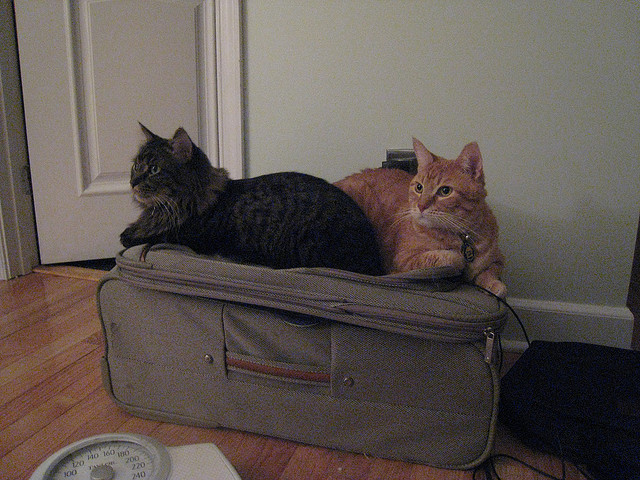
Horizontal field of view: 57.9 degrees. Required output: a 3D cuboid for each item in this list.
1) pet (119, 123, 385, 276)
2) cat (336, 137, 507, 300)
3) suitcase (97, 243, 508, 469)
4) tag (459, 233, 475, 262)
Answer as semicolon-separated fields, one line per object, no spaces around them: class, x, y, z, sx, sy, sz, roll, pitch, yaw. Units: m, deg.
pet;-0.171;-0.083;1.543;0.626;0.280;0.215;11;12;-20
cat;0.285;-0.122;1.686;0.293;0.389;0.752;-8;22;-15
suitcase;-0.061;0.234;1.608;1.054;0.555;0.450;7;21;14
tag;0.365;0.019;1.443;0.040;0.062;0.015;-7;-2;-43
